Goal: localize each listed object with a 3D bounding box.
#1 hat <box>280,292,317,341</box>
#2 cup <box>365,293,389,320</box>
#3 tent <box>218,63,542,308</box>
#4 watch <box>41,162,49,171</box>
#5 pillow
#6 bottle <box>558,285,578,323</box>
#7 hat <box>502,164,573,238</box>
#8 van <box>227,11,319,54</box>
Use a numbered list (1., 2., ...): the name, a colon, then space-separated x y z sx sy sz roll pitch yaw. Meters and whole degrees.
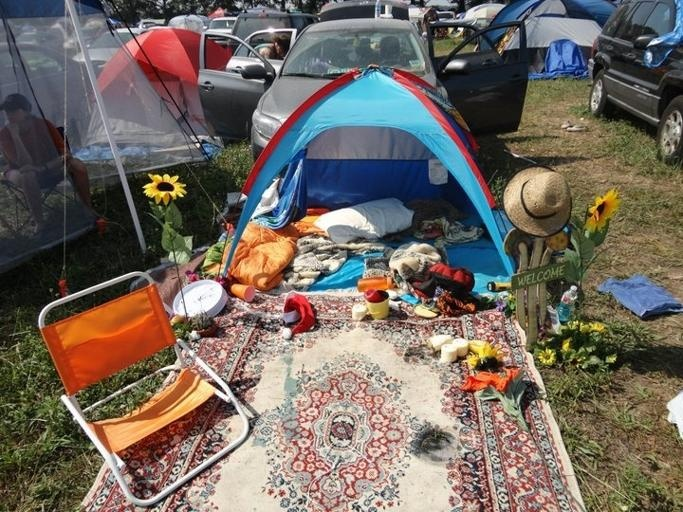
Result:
1. hat: -0.409 0.573 4.738 0.273 0.175 0.366 -39 47 2
2. cup: 0.344 0.450 4.757 0.229 0.199 0.261 -4 20 5
3. tent: 0.442 -0.649 5.756 2.810 1.579 2.610 1 37 7
4. watch: -3.433 -1.053 5.875 0.071 0.045 0.065 0 44 -6
5. pillow: 0.315 -0.418 5.910 0.794 0.212 0.611 -13 27 -11
6. bottle: 1.945 0.416 4.332 0.143 0.329 0.131 -5 54 6
7. hat: 1.533 -0.445 3.831 0.207 0.549 0.568 -42 37 -16
8. van: -1.535 -5.609 12.091 1.306 1.024 1.929 5 40 12
